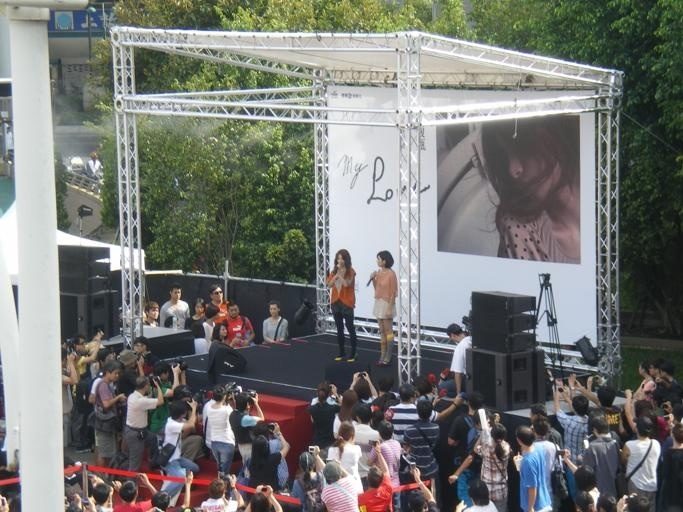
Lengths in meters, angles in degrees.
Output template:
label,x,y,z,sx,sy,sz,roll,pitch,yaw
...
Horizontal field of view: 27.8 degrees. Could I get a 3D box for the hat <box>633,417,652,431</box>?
label,x,y,z,sx,sy,sz,roll,pitch,yaw
hat,4.834,2.742,22.190,0.252,0.265,0.195,1,2,12

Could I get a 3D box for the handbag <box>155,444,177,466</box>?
label,x,y,z,sx,sy,sz,roll,pitch,yaw
handbag,-2.978,3.380,23.271,0.269,0.390,0.122,12,-6,25

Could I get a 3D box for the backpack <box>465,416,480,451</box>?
label,x,y,z,sx,sy,sz,roll,pitch,yaw
backpack,2.141,2.930,22.538,0.223,0.555,0.313,1,2,21

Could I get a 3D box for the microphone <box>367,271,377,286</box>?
label,x,y,z,sx,sy,sz,roll,pitch,yaw
microphone,0.609,0.393,27.114,0.093,0.076,0.588,12,20,10

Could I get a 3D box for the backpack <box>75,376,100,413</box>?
label,x,y,z,sx,sy,sz,roll,pitch,yaw
backpack,-4.851,2.658,25.976,0.571,0.635,0.263,2,3,41

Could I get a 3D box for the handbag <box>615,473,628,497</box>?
label,x,y,z,sx,sy,sz,roll,pitch,yaw
handbag,4.467,3.701,22.187,0.168,0.403,0.227,1,2,22

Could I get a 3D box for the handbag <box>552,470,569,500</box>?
label,x,y,z,sx,sy,sz,roll,pitch,yaw
handbag,3.425,3.661,21.874,0.232,0.584,0.418,-4,-9,34

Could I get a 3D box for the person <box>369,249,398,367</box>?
label,x,y,z,sx,sy,sz,roll,pitch,yaw
person,0.806,1.024,26.867,0.520,2.259,0.734,0,2,1

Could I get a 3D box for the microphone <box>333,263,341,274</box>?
label,x,y,z,sx,sy,sz,roll,pitch,yaw
microphone,-0.118,0.241,26.753,0.060,0.181,0.139,13,22,-6

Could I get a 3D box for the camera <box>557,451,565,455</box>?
label,x,y,z,sx,sy,sz,roll,pitch,yaw
camera,3.447,3.146,21.928,0.081,0.060,0.043,2,-4,-44
